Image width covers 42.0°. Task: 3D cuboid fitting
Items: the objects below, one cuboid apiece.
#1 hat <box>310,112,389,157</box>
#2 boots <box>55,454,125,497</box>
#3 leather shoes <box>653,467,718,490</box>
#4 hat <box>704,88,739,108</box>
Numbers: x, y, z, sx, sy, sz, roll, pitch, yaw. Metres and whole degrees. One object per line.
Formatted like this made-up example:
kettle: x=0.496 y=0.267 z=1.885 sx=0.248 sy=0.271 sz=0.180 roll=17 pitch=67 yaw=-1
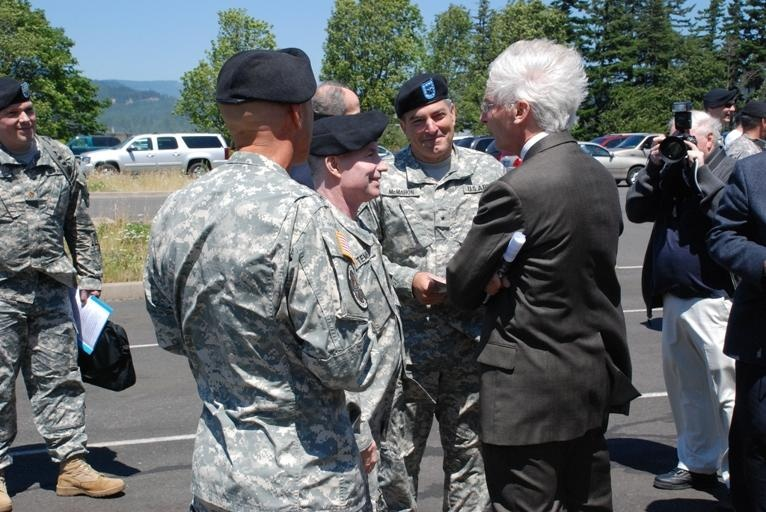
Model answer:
hat: x=-0.228 y=-0.780 z=6.313 sx=0.440 sy=0.158 sz=0.283 roll=-20 pitch=33 yaw=-4
boots: x=-2.285 y=1.748 z=8.033 sx=0.710 sy=0.387 sz=0.233 roll=0 pitch=-1 yaw=-6
leather shoes: x=2.384 y=1.751 z=7.874 sx=0.475 sy=0.163 sz=0.186 roll=3 pitch=-4 yaw=4
hat: x=3.177 y=-1.449 z=9.398 sx=0.276 sy=0.131 sz=0.194 roll=-25 pitch=18 yaw=18
